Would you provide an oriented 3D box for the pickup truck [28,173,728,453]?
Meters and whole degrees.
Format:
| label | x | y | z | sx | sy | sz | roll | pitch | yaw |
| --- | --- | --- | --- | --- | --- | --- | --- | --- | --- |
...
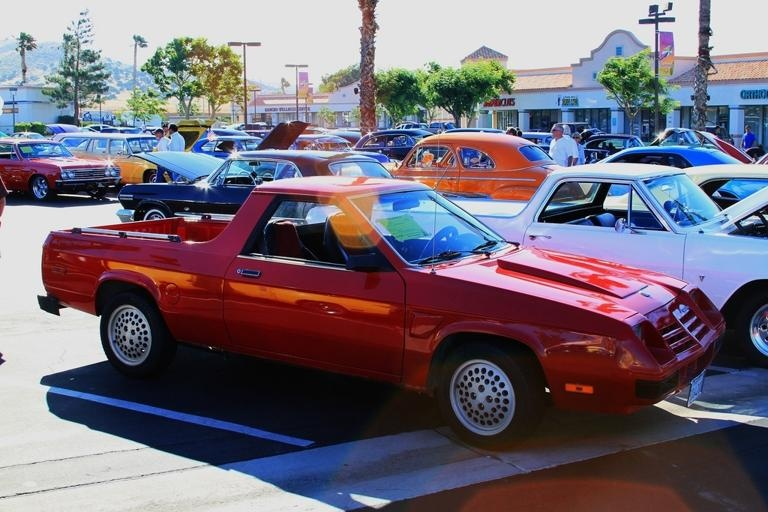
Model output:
| label | x | y | z | sx | sy | sz | roll | pitch | yaw |
| --- | --- | --- | --- | --- | --- | --- | --- | --- | --- |
| pickup truck | -0.382 | 0.325 | 6.134 | 6.561 | 2.129 | 2.777 | 4 | 10 | 25 |
